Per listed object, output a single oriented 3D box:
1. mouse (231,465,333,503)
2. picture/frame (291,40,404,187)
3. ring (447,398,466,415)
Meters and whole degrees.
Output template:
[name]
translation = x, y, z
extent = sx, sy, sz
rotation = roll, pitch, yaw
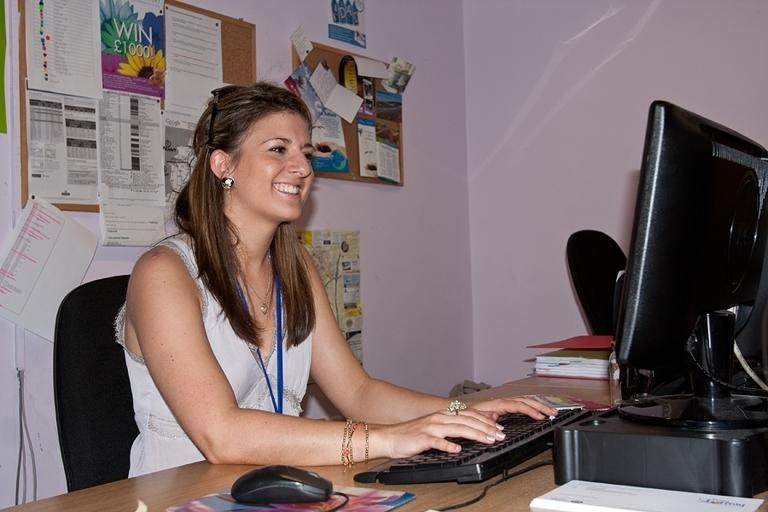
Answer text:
[mouse]
translation = -0.174, 0.376, 0.979
extent = 0.127, 0.041, 0.074
rotation = -2, -2, 1
[picture/frame]
translation = -0.135, -0.710, 2.885
extent = 0.109, 0.648, 0.797
rotation = 4, 8, 38
[ring]
translation = 0.173, 0.349, 1.406
extent = 0.053, 0.046, 0.008
rotation = 0, -15, 9
